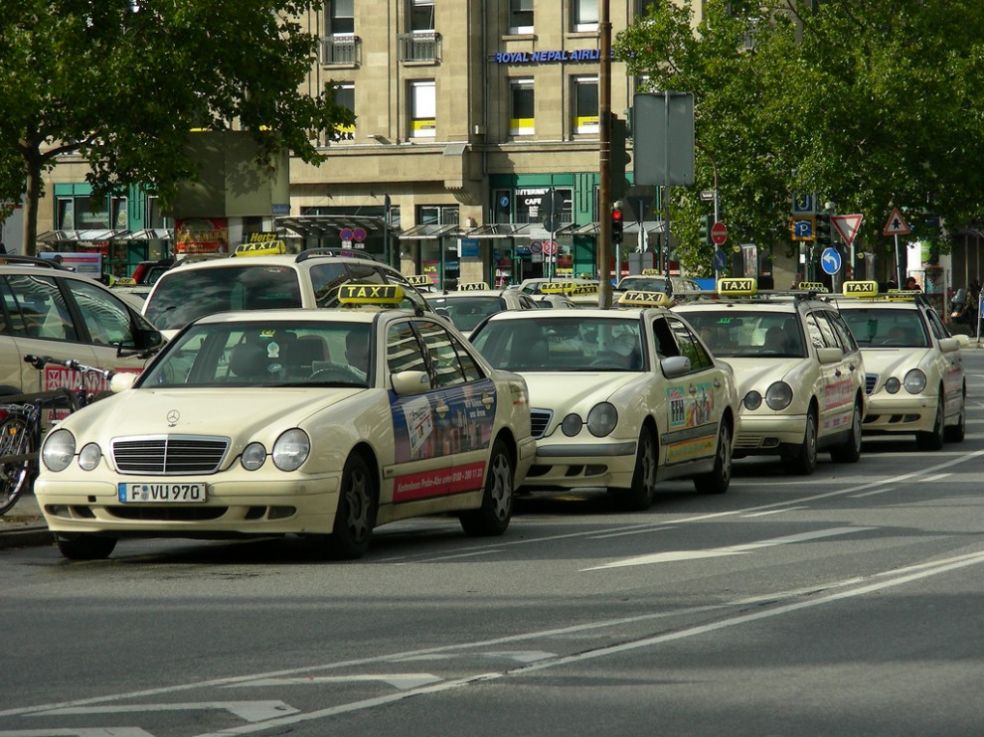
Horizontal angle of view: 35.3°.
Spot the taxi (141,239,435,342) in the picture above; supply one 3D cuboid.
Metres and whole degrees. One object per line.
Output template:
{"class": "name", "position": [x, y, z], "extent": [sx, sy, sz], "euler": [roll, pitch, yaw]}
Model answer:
{"class": "taxi", "position": [-2.247, -1.067, 18.153], "extent": [1.402, 1.274, 2.552], "euler": [2, 6, 31]}

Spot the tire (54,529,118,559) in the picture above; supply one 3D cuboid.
{"class": "tire", "position": [-3.060, 1.307, 11.546], "extent": [0.296, 0.318, 0.310], "euler": [1, 1, 17]}

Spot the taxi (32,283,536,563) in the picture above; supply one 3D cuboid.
{"class": "taxi", "position": [-1.471, 0.552, 11.983], "extent": [1.931, 1.905, 3.805], "euler": [10, 11, 43]}

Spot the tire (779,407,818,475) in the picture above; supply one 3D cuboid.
{"class": "tire", "position": [3.582, 0.825, 18.071], "extent": [0.237, 0.775, 0.752], "euler": [-1, 2, 15]}

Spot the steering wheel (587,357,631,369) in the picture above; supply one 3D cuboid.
{"class": "steering wheel", "position": [1.195, -0.038, 15.181], "extent": [0.463, 0.114, 0.230], "euler": [4, 8, 3]}

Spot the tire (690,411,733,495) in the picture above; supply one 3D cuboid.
{"class": "tire", "position": [2.393, 0.931, 16.654], "extent": [0.270, 0.887, 0.864], "euler": [-1, 7, 17]}

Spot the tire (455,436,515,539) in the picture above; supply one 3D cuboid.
{"class": "tire", "position": [-0.028, 1.046, 13.237], "extent": [0.255, 0.783, 0.761], "euler": [-3, -2, 17]}

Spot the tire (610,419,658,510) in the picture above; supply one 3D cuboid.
{"class": "tire", "position": [1.319, 0.874, 14.460], "extent": [0.186, 0.612, 0.612], "euler": [2, 41, 12]}

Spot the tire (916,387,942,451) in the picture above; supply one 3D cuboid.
{"class": "tire", "position": [5.999, 0.656, 21.173], "extent": [0.244, 0.812, 0.786], "euler": [-1, -5, 12]}

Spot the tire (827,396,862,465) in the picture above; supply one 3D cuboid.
{"class": "tire", "position": [4.660, 0.697, 20.264], "extent": [0.357, 1.140, 1.114], "euler": [1, -6, 19]}

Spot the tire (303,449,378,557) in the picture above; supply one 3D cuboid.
{"class": "tire", "position": [-1.094, 0.984, 11.431], "extent": [0.229, 0.794, 0.778], "euler": [-1, 12, 15]}
